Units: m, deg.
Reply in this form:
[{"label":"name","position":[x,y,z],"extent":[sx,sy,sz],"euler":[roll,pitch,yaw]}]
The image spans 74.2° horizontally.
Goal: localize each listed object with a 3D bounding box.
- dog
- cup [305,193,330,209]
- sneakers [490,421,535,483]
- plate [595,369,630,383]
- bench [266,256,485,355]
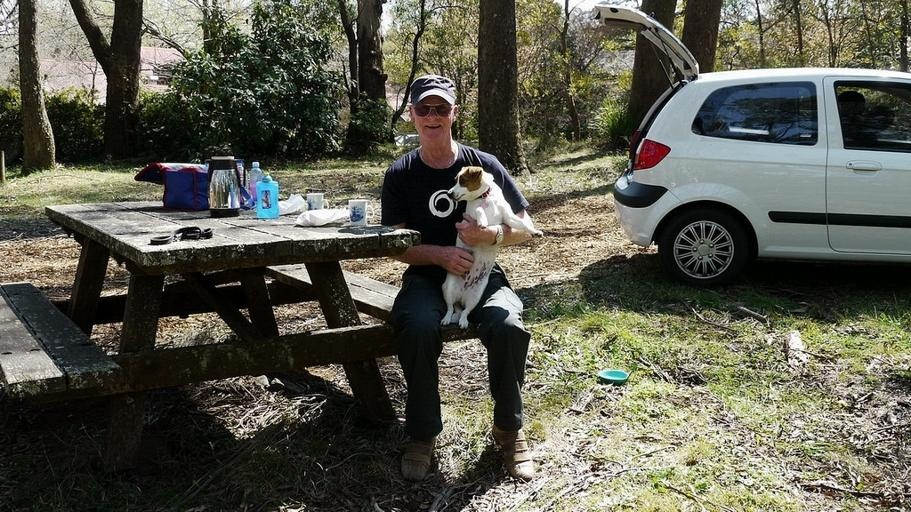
[{"label":"dog","position":[0.232,-0.056,5.090],"extent":[0.771,1.372,0.546],"euler":[9,26,4]},{"label":"cup","position":[-1.180,-0.474,5.196],"extent":[0.229,0.157,0.145],"euler":[2,4,-4]},{"label":"sneakers","position":[0.454,1.550,4.899],"extent":[0.189,0.230,0.553],"euler":[-8,26,-23]},{"label":"plate","position":[1.501,1.148,5.753],"extent":[0.293,0.078,0.205],"euler":[0,15,11]},{"label":"bench","position":[-0.892,0.339,5.489],"extent":[0.661,0.403,1.980],"euler":[-16,27,-37]}]
